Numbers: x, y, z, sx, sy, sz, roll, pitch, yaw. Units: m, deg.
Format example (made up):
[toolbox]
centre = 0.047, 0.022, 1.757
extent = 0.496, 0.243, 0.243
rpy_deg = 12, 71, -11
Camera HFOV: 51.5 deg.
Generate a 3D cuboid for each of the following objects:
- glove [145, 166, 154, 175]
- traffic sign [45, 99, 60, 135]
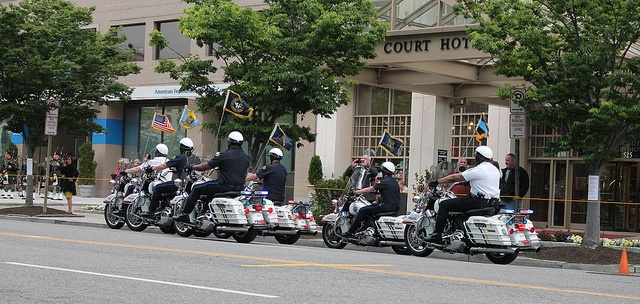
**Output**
[glove]
centre = -7.406, 0.767, 29.061
extent = 0.446, 0.140, 0.327
rpy_deg = 40, -47, -13
[traffic sign]
centre = -13.185, -1.692, 32.700
extent = 0.526, 1.775, 0.703
rpy_deg = 1, 11, -16
